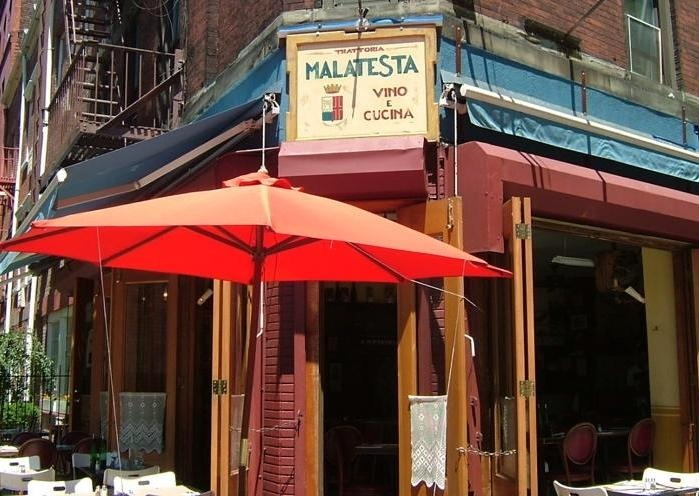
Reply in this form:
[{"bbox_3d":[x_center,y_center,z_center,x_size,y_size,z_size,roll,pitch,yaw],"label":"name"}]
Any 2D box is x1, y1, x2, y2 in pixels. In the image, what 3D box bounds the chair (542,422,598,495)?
[{"bbox_3d":[3.784,3.472,14.724,0.733,1.033,1.433,-2,-13,13],"label":"chair"}]
